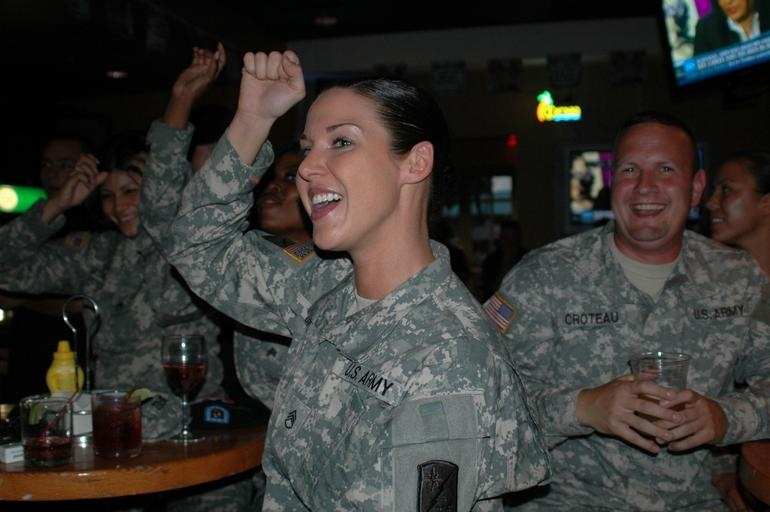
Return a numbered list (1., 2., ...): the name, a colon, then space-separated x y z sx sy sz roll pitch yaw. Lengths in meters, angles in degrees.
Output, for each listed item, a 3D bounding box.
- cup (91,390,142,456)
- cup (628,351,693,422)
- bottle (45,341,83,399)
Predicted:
1. cup: -1.191 0.767 3.336 0.256 0.271 0.251 -3 -7 0
2. cup: 1.118 0.533 3.115 0.252 0.262 0.285 2 -8 -4
3. bottle: -1.563 0.546 3.601 0.184 0.244 0.181 -1 5 0
